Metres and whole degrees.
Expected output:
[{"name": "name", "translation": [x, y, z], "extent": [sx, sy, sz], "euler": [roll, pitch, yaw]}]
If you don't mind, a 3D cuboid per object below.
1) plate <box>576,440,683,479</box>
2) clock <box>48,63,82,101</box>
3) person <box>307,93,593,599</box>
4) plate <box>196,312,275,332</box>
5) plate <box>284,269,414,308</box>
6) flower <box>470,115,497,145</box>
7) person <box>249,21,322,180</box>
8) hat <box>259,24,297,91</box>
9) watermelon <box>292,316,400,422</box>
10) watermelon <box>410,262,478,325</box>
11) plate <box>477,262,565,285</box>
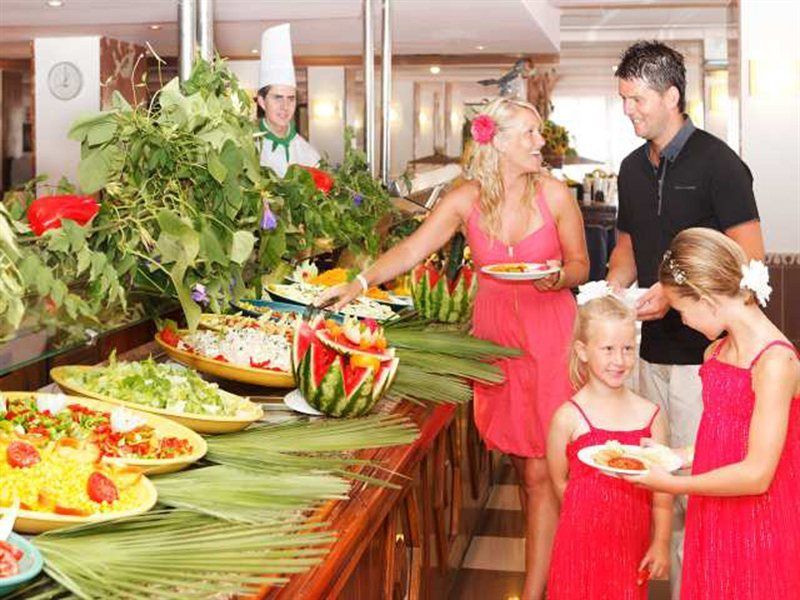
[{"name": "plate", "translation": [0.612, 0.427, 1.610], "extent": [0.322, 0.046, 0.216], "euler": [-2, 4, -22]}, {"name": "clock", "translation": [-3.923, -2.559, 7.110], "extent": [0.411, 0.457, 0.068], "euler": [-1, 3, 4]}, {"name": "person", "translation": [0.279, 0.266, 2.607], "extent": [0.828, 2.165, 0.973], "euler": [-5, 12, -41]}, {"name": "plate", "translation": [-0.547, 0.075, 1.958], "extent": [0.110, 0.028, 0.111], "euler": [9, 8, 23]}, {"name": "plate", "translation": [-0.238, -0.048, 2.574], "extent": [0.412, 0.096, 0.558], "euler": [5, 10, 19]}, {"name": "flower", "translation": [0.343, -0.701, 2.524], "extent": [0.112, 0.111, 0.047], "euler": [0, 3, 0]}, {"name": "person", "translation": [-0.784, -1.202, 3.860], "extent": [0.619, 1.040, 0.511], "euler": [16, 19, 42]}, {"name": "hat", "translation": [-0.732, -1.386, 3.513], "extent": [0.136, 0.389, 0.220], "euler": [4, 14, 13]}, {"name": "watermelon", "translation": [-0.146, 0.155, 1.695], "extent": [0.288, 0.254, 0.224], "euler": [3, 12, 13]}, {"name": "watermelon", "translation": [0.232, -0.060, 3.045], "extent": [0.380, 0.283, 0.316], "euler": [-4, -4, 16]}, {"name": "plate", "translation": [0.447, -0.100, 2.232], "extent": [0.289, 0.068, 0.299], "euler": [0, 3, 11]}]
